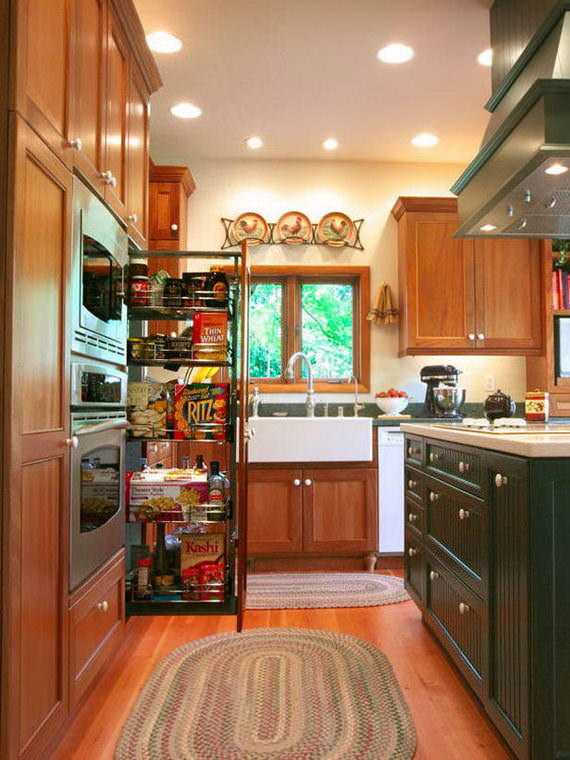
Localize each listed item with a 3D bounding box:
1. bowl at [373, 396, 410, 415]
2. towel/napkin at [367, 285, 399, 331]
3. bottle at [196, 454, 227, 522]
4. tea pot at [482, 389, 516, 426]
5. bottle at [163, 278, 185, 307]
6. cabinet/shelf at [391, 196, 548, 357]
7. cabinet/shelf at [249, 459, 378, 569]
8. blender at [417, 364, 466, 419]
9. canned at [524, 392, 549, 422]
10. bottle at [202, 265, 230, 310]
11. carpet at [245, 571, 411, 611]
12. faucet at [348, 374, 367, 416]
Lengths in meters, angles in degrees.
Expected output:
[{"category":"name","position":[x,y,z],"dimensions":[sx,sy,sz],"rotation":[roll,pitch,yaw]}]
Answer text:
[{"category":"bowl","position":[0.662,0.170,3.791],"dimensions":[0.170,0.110,0.131],"rotation":[1,-4,-19]},{"category":"towel/napkin","position":[0.634,-0.454,4.001],"dimensions":[0.280,0.314,0.221],"rotation":[1,4,-3]},{"category":"bottle","position":[-0.295,0.476,2.633],"dimensions":[0.111,0.247,0.166],"rotation":[0,-4,-6]},{"category":"tea pot","position":[0.783,0.100,2.309],"dimensions":[0.108,0.146,0.141],"rotation":[0,-5,11]},{"category":"bottle","position":[-0.456,-0.353,2.601],"dimensions":[0.107,0.152,0.107],"rotation":[0,-4,0]},{"category":"cabinet/shelf","position":[1.161,-0.607,3.921],"dimensions":[0.956,0.993,0.412],"rotation":[-1,-2,0]},{"category":"cabinet/shelf","position":[0.151,0.638,3.551],"dimensions":[0.831,0.717,0.463],"rotation":[0,-4,-2]},{"category":"blender","position":[0.954,0.074,3.726],"dimensions":[0.193,0.324,0.296],"rotation":[6,-8,-36]},{"category":"canned","position":[0.953,0.103,2.337],"dimensions":[0.076,0.105,0.172],"rotation":[-2,-4,20]},{"category":"bottle","position":[-0.288,-0.378,2.612],"dimensions":[0.103,0.170,0.125],"rotation":[0,-4,-7]},{"category":"carpet","position":[0.210,1.036,3.063],"dimensions":[0.796,0.027,0.630],"rotation":[0,-4,-2]},{"category":"faucet","position":[0.463,0.114,3.973],"dimensions":[0.081,0.253,0.198],"rotation":[-1,-4,7]}]
